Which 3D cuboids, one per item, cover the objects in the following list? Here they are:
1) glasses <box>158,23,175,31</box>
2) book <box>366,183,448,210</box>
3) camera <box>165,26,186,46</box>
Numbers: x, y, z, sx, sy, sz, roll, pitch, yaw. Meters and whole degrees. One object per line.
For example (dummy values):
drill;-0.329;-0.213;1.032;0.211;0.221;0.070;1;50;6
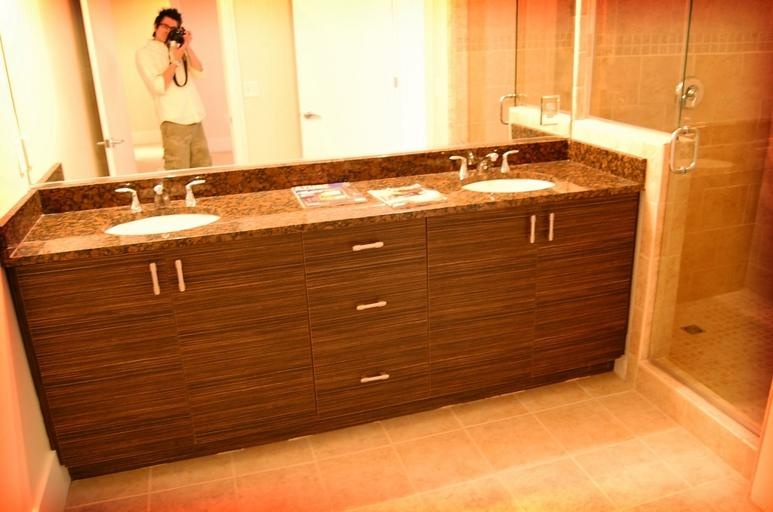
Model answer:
glasses;-1.102;-1.149;2.716;0.053;0.015;0.043;-9;47;-27
book;0.104;-0.314;2.840;0.272;0.015;0.198;-9;24;-19
camera;-1.072;-1.120;2.738;0.108;0.077;0.032;0;34;-18
